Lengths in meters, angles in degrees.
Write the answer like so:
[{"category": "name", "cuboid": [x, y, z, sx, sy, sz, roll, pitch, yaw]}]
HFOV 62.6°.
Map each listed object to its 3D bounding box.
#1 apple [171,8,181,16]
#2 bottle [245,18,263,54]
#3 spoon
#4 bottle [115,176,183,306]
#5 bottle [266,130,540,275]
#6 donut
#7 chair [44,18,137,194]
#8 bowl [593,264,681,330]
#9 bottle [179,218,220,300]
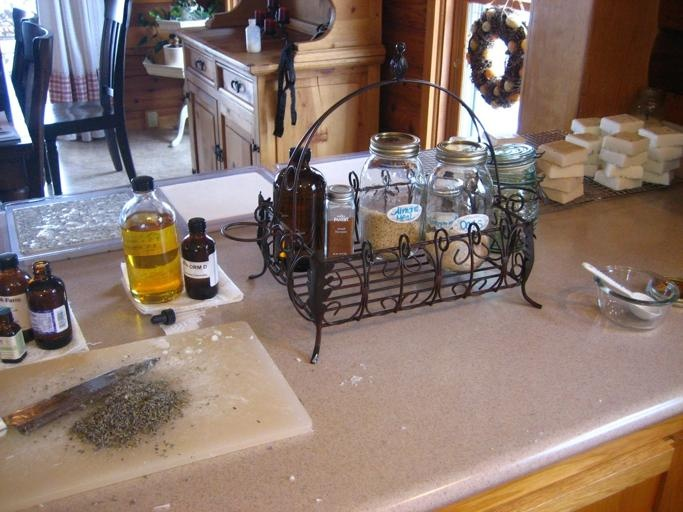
[{"category": "apple", "cuboid": [-1.311, -1.923, 4.428, 0.062, 0.034, 0.061, -1, 2, -14]}, {"category": "bottle", "cuboid": [-0.437, -1.094, 2.790, 0.064, 0.151, 0.150, -2, 24, -3]}, {"category": "spoon", "cuboid": [0.540, 0.071, 1.152, 0.185, 0.056, 0.070, 36, 42, 29]}, {"category": "bottle", "cuboid": [-0.377, -0.042, 1.126, 0.124, 0.248, 0.115, -1, 24, 0]}, {"category": "bottle", "cuboid": [0.135, -0.095, 1.124, 0.534, 0.306, 0.310, -4, 26, -11]}, {"category": "donut", "cuboid": [0.624, -0.785, 2.256, 0.111, 0.360, 0.319, 6, 26, 26]}, {"category": "chair", "cuboid": [-1.486, -0.855, 3.231, 0.499, 0.923, 0.660, -13, 27, -26]}, {"category": "bowl", "cuboid": [0.587, 0.088, 1.132, 0.145, 0.085, 0.136, 0, 23, 0]}, {"category": "bottle", "cuboid": [-0.291, 0.012, 1.144, 0.082, 0.198, 0.082, 1, 34, -1]}]
